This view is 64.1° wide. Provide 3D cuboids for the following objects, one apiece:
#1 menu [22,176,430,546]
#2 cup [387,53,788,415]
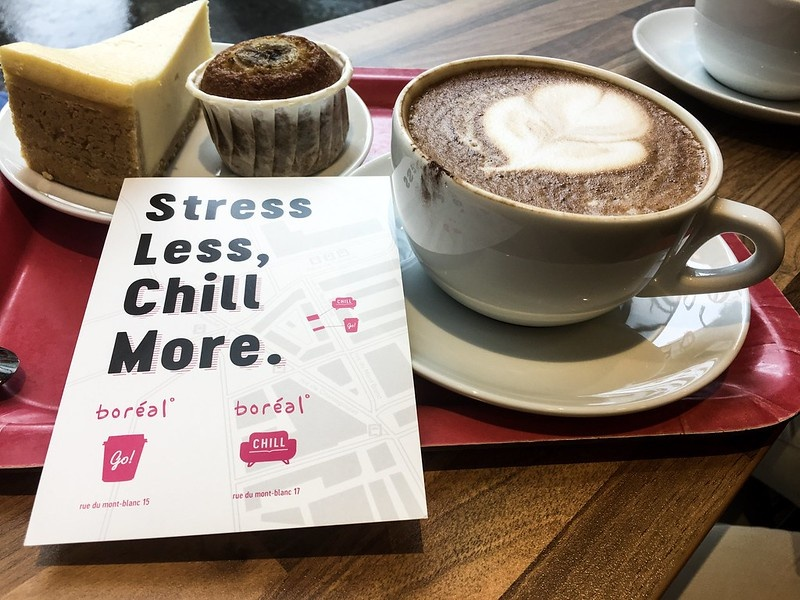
[{"bbox_3d":[-0.145,0.030,0.584,0.306,0.067,0.346,-4,53,-2],"label":"menu"},{"bbox_3d":[0.146,-0.061,0.689,0.373,0.178,0.291,15,51,10],"label":"cup"}]
